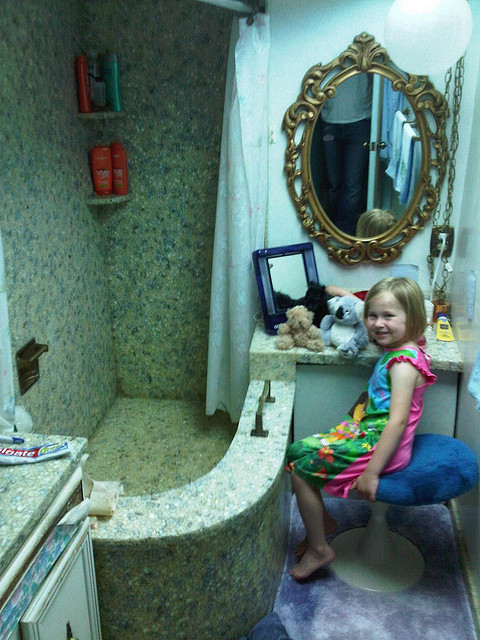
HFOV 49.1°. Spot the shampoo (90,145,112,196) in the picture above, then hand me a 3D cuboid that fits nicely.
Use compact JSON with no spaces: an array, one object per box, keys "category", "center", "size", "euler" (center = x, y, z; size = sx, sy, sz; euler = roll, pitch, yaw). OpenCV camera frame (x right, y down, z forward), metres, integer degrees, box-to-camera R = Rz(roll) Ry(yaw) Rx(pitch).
[{"category":"shampoo","center":[-0.573,-0.615,2.166],"size":[0.083,0.192,0.079],"euler":[-6,14,-20]}]

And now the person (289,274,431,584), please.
[{"category":"person","center":[0.366,0.327,1.517],"size":[0.416,0.863,0.313],"euler":[-12,16,-37]}]

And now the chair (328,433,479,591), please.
[{"category":"chair","center":[0.470,0.535,1.635],"size":[0.340,0.460,0.455],"euler":[2,29,7]}]

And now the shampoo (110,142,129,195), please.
[{"category":"shampoo","center":[-0.505,-0.635,2.203],"size":[0.067,0.208,0.056],"euler":[-5,13,-18]}]

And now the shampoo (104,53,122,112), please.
[{"category":"shampoo","center":[-0.506,-0.950,2.090],"size":[0.065,0.224,0.101],"euler":[-4,13,-13]}]

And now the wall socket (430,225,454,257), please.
[{"category":"wall socket","center":[0.763,-0.302,1.963],"size":[0.079,0.166,0.015],"euler":[3,17,8]}]

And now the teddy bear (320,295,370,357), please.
[{"category":"teddy bear","center":[0.347,0.025,1.764],"size":[0.149,0.210,0.122],"euler":[13,4,36]}]
